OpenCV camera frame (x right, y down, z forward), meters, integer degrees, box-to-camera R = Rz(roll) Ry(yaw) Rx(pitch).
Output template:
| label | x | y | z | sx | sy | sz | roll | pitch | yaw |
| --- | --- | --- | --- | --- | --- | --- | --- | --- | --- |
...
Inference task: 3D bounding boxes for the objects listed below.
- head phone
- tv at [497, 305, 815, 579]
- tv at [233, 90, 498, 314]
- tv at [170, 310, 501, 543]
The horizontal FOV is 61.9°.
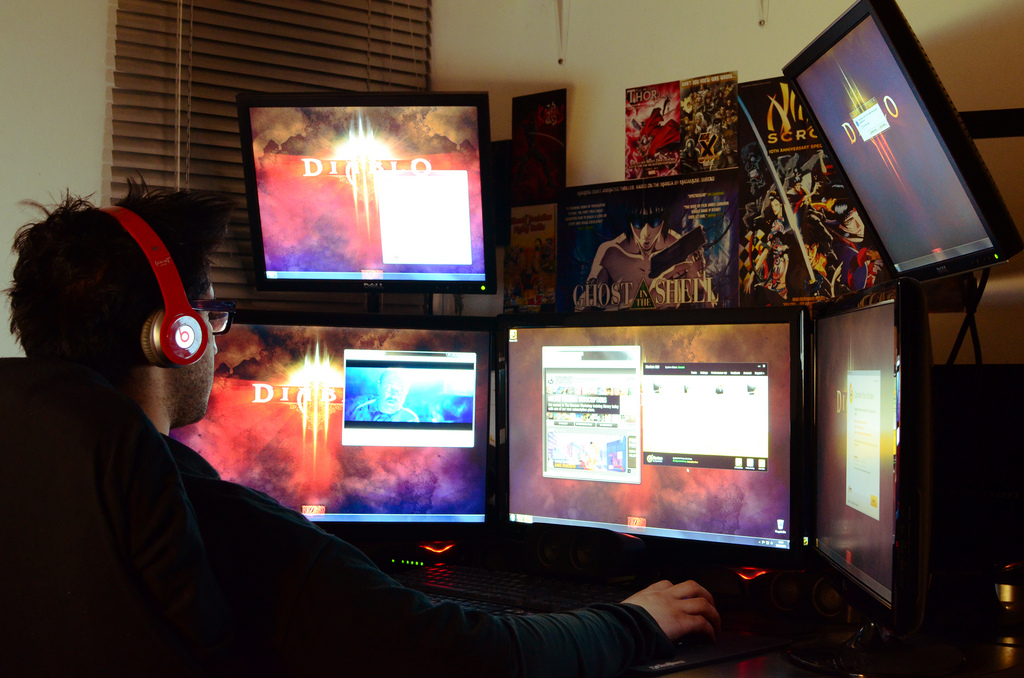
| label | x | y | z | sx | sy | sz | roll | pitch | yaw |
| --- | --- | --- | --- | --- | --- | --- | --- | --- | --- |
| head phone | -0.591 | -0.083 | 1.361 | 0.089 | 0.229 | 0.232 | -26 | 9 | -34 |
| tv | 0.325 | 0.227 | 1.797 | 0.567 | 0.467 | 0.060 | -2 | -2 | 24 |
| tv | -0.371 | -0.357 | 2.131 | 0.586 | 0.448 | 0.061 | 0 | 5 | 4 |
| tv | -0.392 | 0.204 | 1.847 | 0.516 | 0.325 | 0.023 | 1 | -8 | 3 |
